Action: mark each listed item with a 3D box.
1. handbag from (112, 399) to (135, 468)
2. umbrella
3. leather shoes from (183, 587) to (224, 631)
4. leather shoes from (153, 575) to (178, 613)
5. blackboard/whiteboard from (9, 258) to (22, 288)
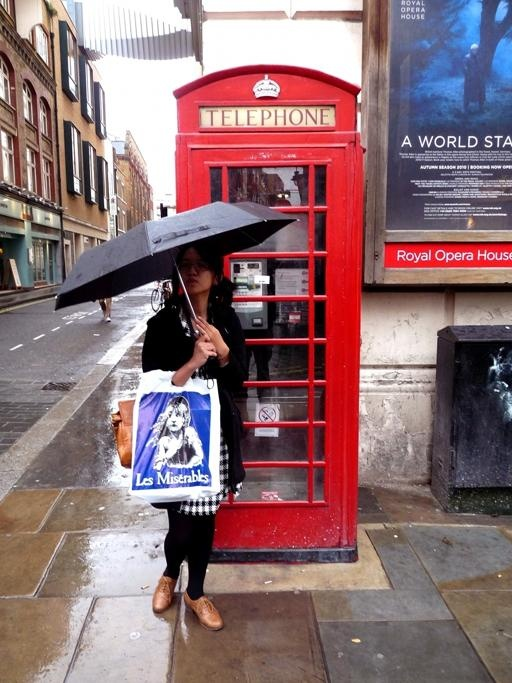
[{"bbox_3d":[-0.553,0.398,2.355,0.090,0.261,0.235,-2,8,-15],"label":"handbag"},{"bbox_3d":[-0.286,-0.368,2.251,0.610,0.422,0.929,5,10,36],"label":"umbrella"},{"bbox_3d":[-0.238,1.184,2.531,0.083,0.101,0.218,-11,25,-41],"label":"leather shoes"},{"bbox_3d":[-0.425,1.189,2.624,0.058,0.079,0.186,7,2,0],"label":"leather shoes"},{"bbox_3d":[-10.667,-3.051,24.850,0.388,1.287,1.008,-3,8,-19],"label":"blackboard/whiteboard"}]
